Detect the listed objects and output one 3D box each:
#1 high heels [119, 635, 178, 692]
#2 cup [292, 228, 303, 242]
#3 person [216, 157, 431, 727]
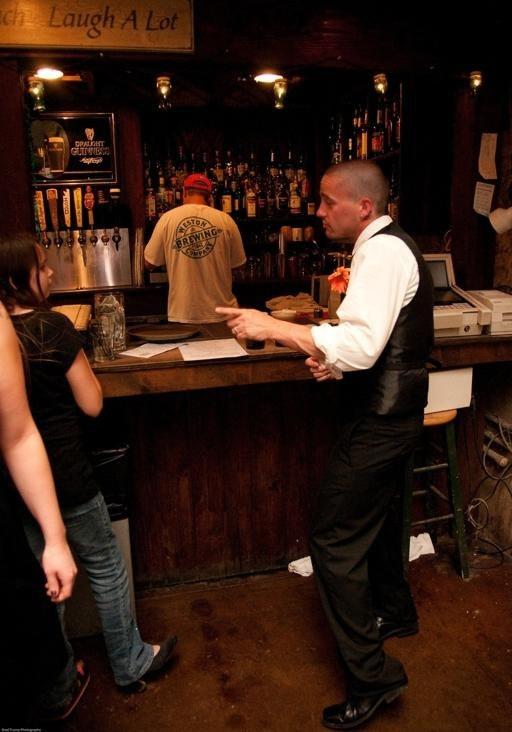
[{"bbox_3d":[-0.348,1.005,2.080,0.081,0.108,0.273,7,20,25],"label":"high heels"},{"bbox_3d":[0.381,-1.197,5.408,0.094,0.116,0.115,0,0,12],"label":"cup"},{"bbox_3d":[0.343,0.222,1.902,0.594,1.710,0.452,-12,15,-40],"label":"person"}]
